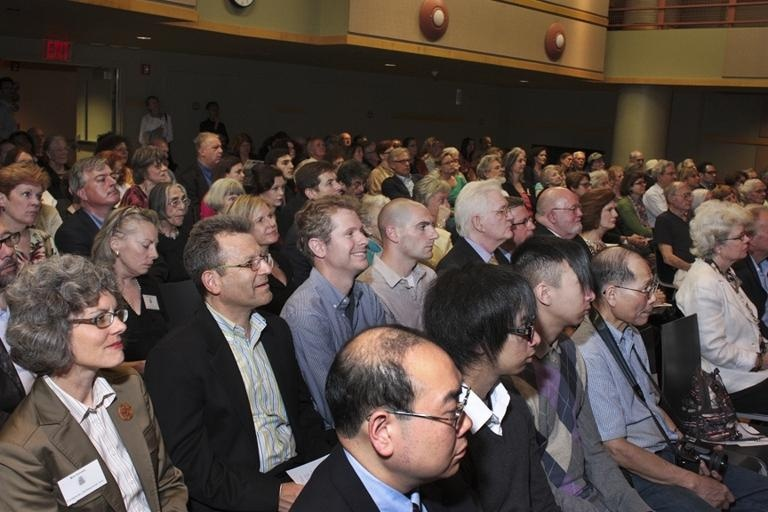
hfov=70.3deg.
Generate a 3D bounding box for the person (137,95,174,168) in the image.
[{"bbox_3d":[-4.598,-2.322,11.066,0.671,1.727,0.561,-15,38,-34],"label":"person"}]

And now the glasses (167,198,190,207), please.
[{"bbox_3d":[-1.799,-0.457,4.736,0.091,0.032,0.092,-18,-5,28],"label":"glasses"}]

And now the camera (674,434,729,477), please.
[{"bbox_3d":[1.875,1.180,3.202,0.186,0.184,0.320,18,-5,-30],"label":"camera"}]

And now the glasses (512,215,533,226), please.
[{"bbox_3d":[1.195,-0.304,4.745,0.143,0.048,0.144,-8,9,-39],"label":"glasses"}]
